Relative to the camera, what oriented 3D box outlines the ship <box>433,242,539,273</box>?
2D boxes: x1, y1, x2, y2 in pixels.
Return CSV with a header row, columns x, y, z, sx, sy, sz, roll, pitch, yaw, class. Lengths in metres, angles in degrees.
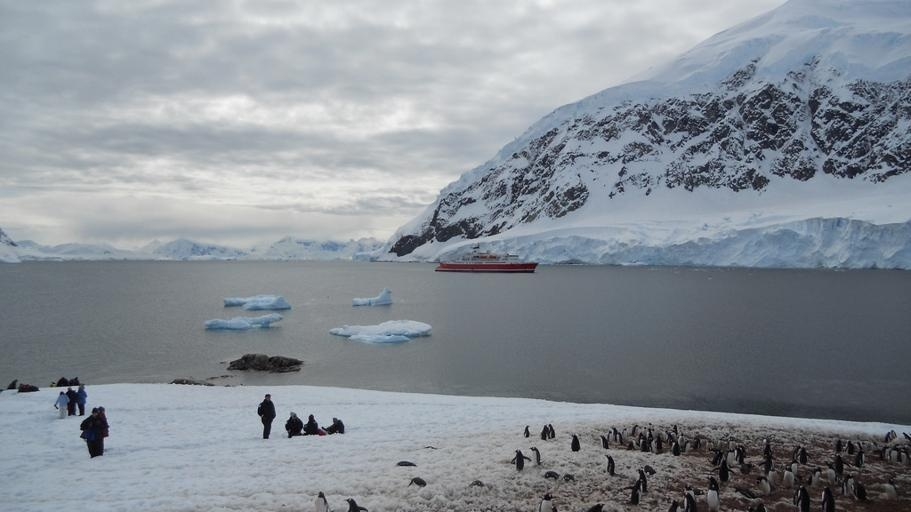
x,y,z,sx,sy,sz,roll,pitch,yaw,class
12.410,1.764,334.379,19.951,11.477,43.868,-1,-2,-41,ship
